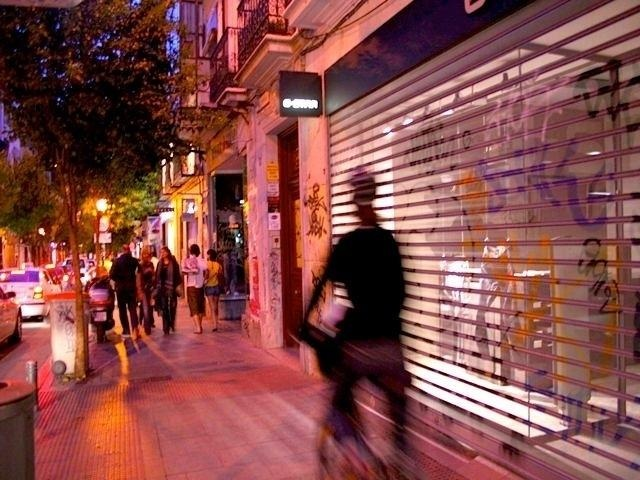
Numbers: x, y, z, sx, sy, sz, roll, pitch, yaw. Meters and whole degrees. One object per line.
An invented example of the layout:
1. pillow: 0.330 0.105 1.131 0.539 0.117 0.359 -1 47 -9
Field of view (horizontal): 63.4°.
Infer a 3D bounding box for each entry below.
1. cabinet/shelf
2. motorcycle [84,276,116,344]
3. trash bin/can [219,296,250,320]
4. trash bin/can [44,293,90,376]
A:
1. cabinet/shelf: 1.933 0.860 4.754 0.387 1.131 0.682 -2 0 22
2. motorcycle: -5.349 1.568 13.147 0.741 1.191 1.860 -2 4 -15
3. trash bin/can: -2.578 2.080 15.598 0.888 1.034 0.960 0 0 -15
4. trash bin/can: -4.380 1.628 9.009 0.588 1.407 1.180 -2 0 -29
